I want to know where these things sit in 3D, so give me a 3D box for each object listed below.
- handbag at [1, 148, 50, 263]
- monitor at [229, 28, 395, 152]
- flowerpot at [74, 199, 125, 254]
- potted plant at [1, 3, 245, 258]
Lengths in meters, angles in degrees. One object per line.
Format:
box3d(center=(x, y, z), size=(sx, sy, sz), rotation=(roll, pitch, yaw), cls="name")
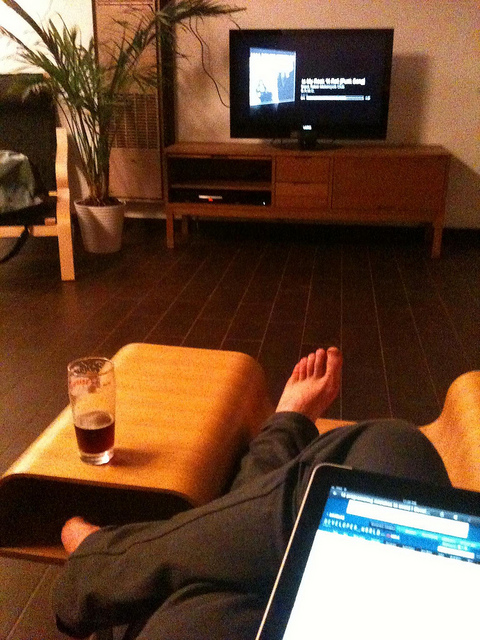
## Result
box3d(center=(-1.311, -0.705, 2.876), size=(0.383, 0.720, 0.223), rotation=(-4, -15, -5), cls="handbag")
box3d(center=(0.501, -1.630, 3.156), size=(0.666, 0.619, 0.247), rotation=(1, 27, 5), cls="monitor")
box3d(center=(-0.963, -0.629, 3.153), size=(0.278, 0.353, 0.371), rotation=(-2, 19, -8), cls="flowerpot")
box3d(center=(-0.836, -1.399, 3.222), size=(1.210, 1.581, 1.004), rotation=(-2, 22, -20), cls="potted plant")
